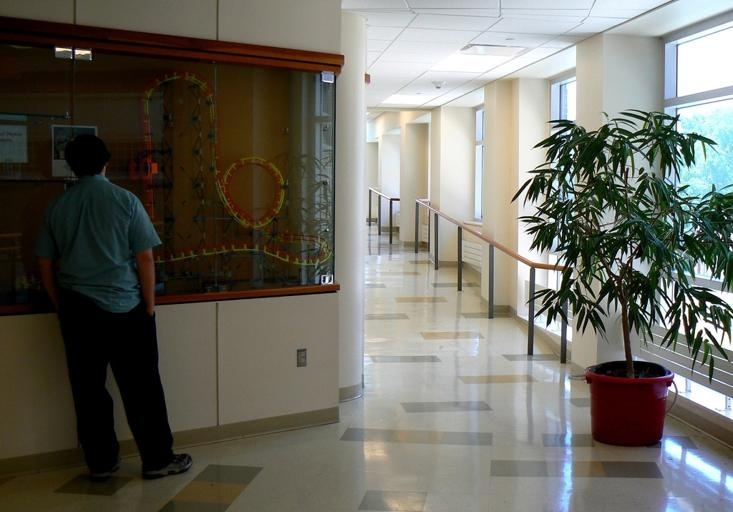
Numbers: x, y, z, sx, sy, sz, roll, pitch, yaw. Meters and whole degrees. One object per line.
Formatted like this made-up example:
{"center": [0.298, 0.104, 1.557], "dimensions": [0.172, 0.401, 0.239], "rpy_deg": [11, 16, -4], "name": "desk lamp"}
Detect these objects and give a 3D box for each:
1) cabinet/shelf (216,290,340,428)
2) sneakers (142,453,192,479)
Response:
{"center": [-0.781, 0.825, 4.468], "dimensions": [1.085, 1.100, 0.366], "rpy_deg": [0, -3, -25], "name": "cabinet/shelf"}
{"center": [-1.427, 1.508, 3.848], "dimensions": [0.315, 0.153, 0.126], "rpy_deg": [-8, 7, -30], "name": "sneakers"}
